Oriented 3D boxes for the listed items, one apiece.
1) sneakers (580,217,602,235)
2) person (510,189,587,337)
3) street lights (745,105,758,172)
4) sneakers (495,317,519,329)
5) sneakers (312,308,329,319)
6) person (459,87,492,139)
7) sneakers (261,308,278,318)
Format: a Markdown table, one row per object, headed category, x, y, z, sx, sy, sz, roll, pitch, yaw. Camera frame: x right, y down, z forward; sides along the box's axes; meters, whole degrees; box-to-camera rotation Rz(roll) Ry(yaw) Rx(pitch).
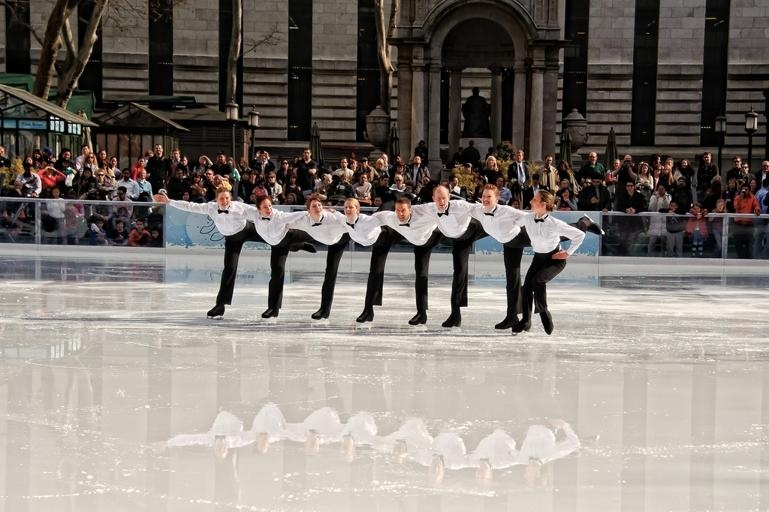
| category | x | y | z | sx | sy | sz | roll | pitch | yaw |
| --- | --- | --- | --- | --- | --- | --- | --- | --- | --- |
| sneakers | 4.592 | -0.681 | 30.680 | 0.271 | 0.194 | 0.617 | 1 | 28 | -41 |
| person | 3.346 | 0.137 | 28.816 | 1.262 | 2.999 | 0.869 | 1 | -4 | -2 |
| street lights | 11.895 | -3.728 | 44.753 | 0.413 | 1.984 | 0.374 | 0 | 4 | -10 |
| sneakers | 2.617 | 1.421 | 29.076 | 0.565 | 0.238 | 0.207 | -2 | -1 | 15 |
| sneakers | -1.368 | 1.247 | 29.597 | 0.365 | 0.192 | 0.184 | 3 | 3 | -1 |
| person | 3.095 | -4.608 | 44.895 | 0.961 | 1.493 | 1.342 | 1 | -4 | -7 |
| sneakers | -2.441 | 1.227 | 29.645 | 0.385 | 0.246 | 0.274 | 2 | -4 | -13 |
